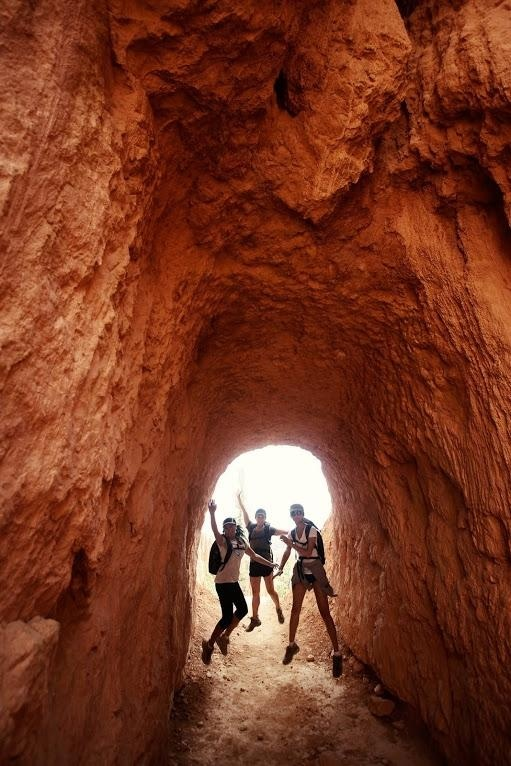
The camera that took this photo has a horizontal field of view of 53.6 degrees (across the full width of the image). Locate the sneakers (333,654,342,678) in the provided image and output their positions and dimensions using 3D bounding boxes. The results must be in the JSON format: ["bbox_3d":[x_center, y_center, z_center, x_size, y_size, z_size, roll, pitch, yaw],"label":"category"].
[{"bbox_3d":[0.648,2.218,3.995,0.086,0.177,0.057,-1,-4,-29],"label":"sneakers"}]

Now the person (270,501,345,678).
[{"bbox_3d":[0.455,1.849,4.396,0.485,1.535,0.852,-4,-4,5],"label":"person"}]
